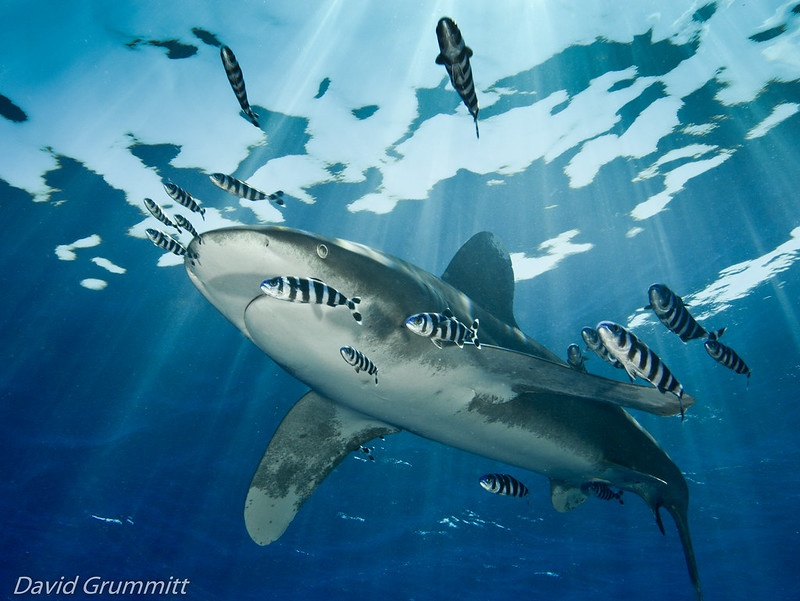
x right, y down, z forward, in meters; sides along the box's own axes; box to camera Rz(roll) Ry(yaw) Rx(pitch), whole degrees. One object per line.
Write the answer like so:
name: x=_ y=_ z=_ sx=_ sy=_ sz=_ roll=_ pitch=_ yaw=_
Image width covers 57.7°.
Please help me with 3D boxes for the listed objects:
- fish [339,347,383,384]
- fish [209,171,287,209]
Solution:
fish: x=-0.929 y=1.656 z=18.781 sx=0.545 sy=1.237 sz=0.431 roll=2 pitch=64 yaw=55
fish: x=-4.295 y=-3.198 z=20.188 sx=1.433 sy=1.131 sz=0.801 roll=-17 pitch=30 yaw=-3
